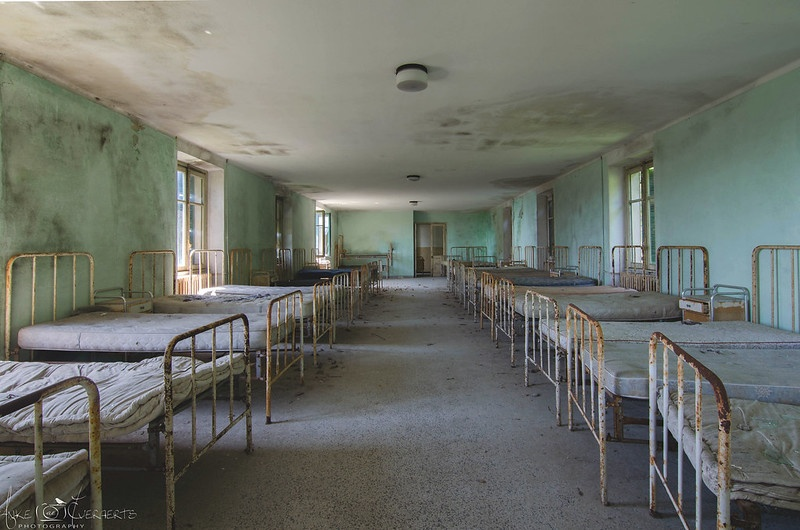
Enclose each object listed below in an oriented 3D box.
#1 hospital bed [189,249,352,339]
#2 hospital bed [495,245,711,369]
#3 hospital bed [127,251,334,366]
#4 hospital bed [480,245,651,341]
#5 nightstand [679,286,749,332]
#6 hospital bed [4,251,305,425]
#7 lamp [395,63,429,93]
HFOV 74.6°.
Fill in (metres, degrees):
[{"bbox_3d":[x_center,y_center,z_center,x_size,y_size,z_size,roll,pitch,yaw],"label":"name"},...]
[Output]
[{"bbox_3d":[-1.764,0.482,6.368,1.785,1.011,1.673,1,0,8],"label":"hospital bed"},{"bbox_3d":[2.565,0.489,6.260,1.835,1.038,1.526,0,1,3],"label":"hospital bed"},{"bbox_3d":[-2.263,0.440,6.360,1.756,0.991,1.597,1,-1,4],"label":"hospital bed"},{"bbox_3d":[2.408,0.287,7.645,1.687,0.711,1.595,-12,0,45],"label":"hospital bed"},{"bbox_3d":[3.333,0.476,5.579,0.452,0.521,0.554,-3,4,1],"label":"nightstand"},{"bbox_3d":[-2.395,0.604,5.449,2.051,1.107,1.922,0,1,4],"label":"hospital bed"},{"bbox_3d":[0.127,-1.827,5.123,0.342,0.198,0.319,-1,5,-1],"label":"lamp"}]
